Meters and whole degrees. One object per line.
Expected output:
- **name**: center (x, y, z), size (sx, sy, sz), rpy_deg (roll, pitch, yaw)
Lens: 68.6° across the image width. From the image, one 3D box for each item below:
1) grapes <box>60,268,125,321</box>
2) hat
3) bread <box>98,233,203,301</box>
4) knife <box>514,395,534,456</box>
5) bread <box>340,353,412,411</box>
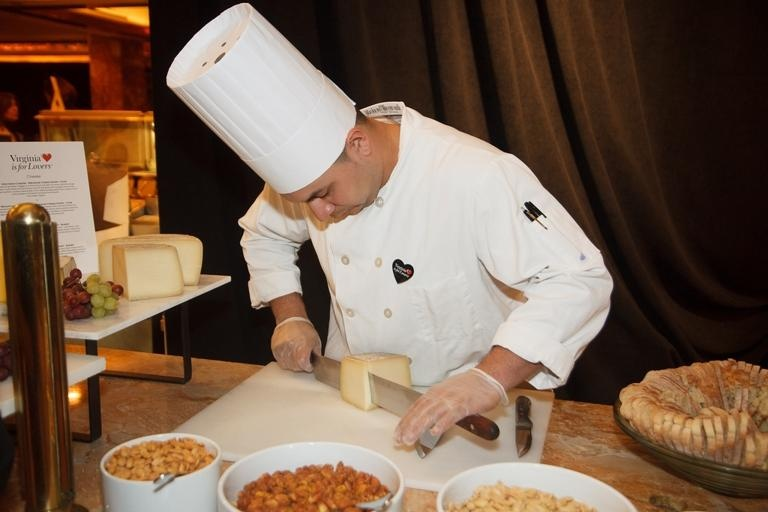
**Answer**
- **grapes**: center (-0.879, 0.109, 1.736), size (0.125, 0.122, 0.187), rpy_deg (2, 4, 25)
- **hat**: center (-0.326, -0.441, 1.596), size (0.527, 0.532, 0.216), rpy_deg (-6, 11, -24)
- **bread**: center (-0.766, -0.010, 1.909), size (0.231, 0.139, 0.252), rpy_deg (-4, 7, -43)
- **knife**: center (0.384, 0.455, 1.520), size (0.048, 0.022, 0.234), rpy_deg (-6, 21, 17)
- **bread**: center (-0.029, 0.350, 1.670), size (0.156, 0.131, 0.156), rpy_deg (2, -1, -40)
